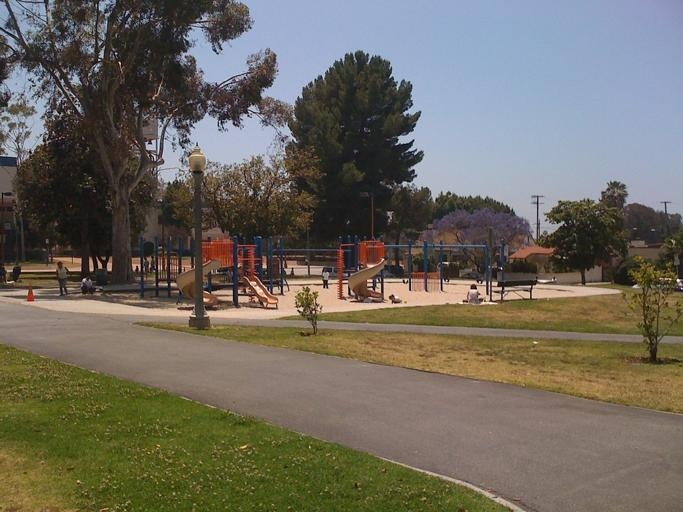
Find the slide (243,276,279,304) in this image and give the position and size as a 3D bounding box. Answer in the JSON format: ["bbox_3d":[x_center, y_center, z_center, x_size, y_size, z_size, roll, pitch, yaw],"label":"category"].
[{"bbox_3d":[-3.680,1.638,34.969,0.746,1.447,3.372,-2,9,-24],"label":"slide"}]

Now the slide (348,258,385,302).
[{"bbox_3d":[1.129,1.141,38.661,1.741,2.362,1.892,4,-6,-25],"label":"slide"}]

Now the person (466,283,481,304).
[{"bbox_3d":[6.431,1.866,36.411,0.551,0.969,1.549,0,1,10],"label":"person"}]

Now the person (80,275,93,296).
[{"bbox_3d":[-12.544,1.479,37.247,0.517,0.895,0.955,-2,10,-22],"label":"person"}]

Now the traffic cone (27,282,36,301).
[{"bbox_3d":[-15.192,1.694,36.899,0.497,0.809,0.530,-1,3,-14],"label":"traffic cone"}]

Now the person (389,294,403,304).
[{"bbox_3d":[2.703,2.115,37.393,0.248,0.455,0.780,-1,-3,17],"label":"person"}]
